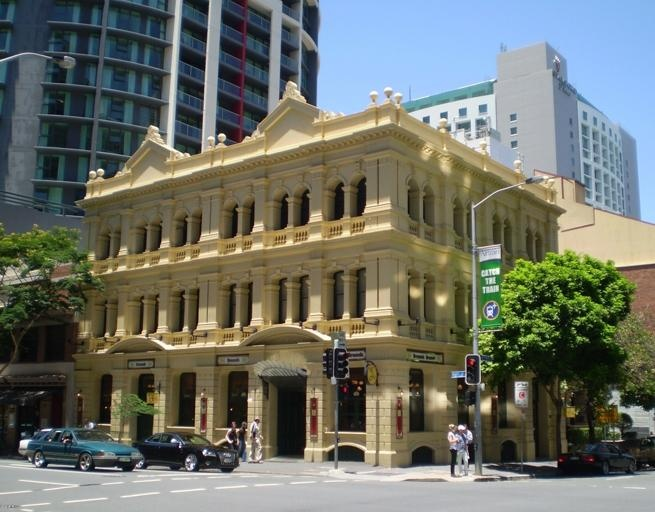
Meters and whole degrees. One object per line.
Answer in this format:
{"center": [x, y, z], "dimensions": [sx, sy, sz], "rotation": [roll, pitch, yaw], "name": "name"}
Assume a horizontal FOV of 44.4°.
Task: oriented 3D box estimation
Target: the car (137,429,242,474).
{"center": [-6.948, 9.556, 39.029], "dimensions": [4.680, 1.394, 2.077], "rotation": [-12, -22, 31], "name": "car"}

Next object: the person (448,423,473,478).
{"center": [6.285, 9.213, 38.187], "dimensions": [0.977, 2.439, 1.554], "rotation": [-4, -19, 11], "name": "person"}

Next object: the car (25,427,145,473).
{"center": [-11.387, 9.048, 37.629], "dimensions": [5.180, 1.971, 1.839], "rotation": [-11, -21, 33], "name": "car"}

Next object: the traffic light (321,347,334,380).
{"center": [0.079, 5.030, 38.350], "dimensions": [0.448, 1.437, 0.809], "rotation": [3, -19, -9], "name": "traffic light"}

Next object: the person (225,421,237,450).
{"center": [-4.974, 9.470, 42.590], "dimensions": [0.709, 1.528, 1.152], "rotation": [-1, 6, -5], "name": "person"}

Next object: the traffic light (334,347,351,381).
{"center": [0.647, 5.041, 38.120], "dimensions": [0.666, 1.418, 0.669], "rotation": [2, -19, -7], "name": "traffic light"}

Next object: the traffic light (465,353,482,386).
{"center": [6.833, 5.279, 37.749], "dimensions": [0.668, 1.412, 0.559], "rotation": [-2, -19, 5], "name": "traffic light"}
